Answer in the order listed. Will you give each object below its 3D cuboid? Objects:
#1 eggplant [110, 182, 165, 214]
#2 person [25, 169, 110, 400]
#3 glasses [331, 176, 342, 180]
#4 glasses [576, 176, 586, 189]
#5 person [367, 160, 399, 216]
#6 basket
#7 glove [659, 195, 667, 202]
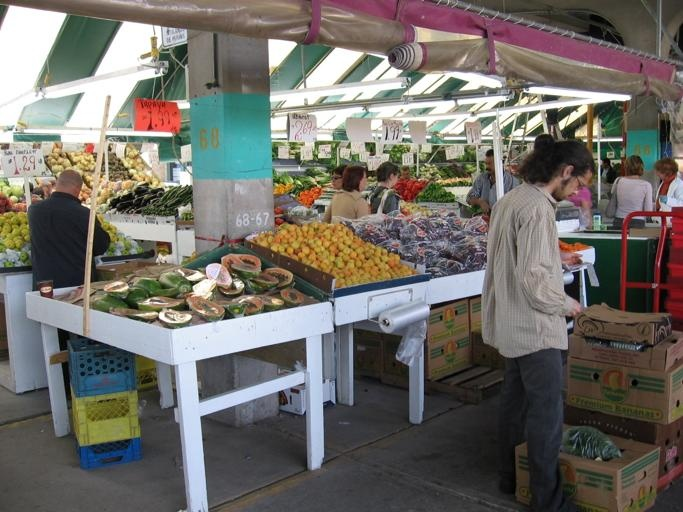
[{"bbox_3d":[-3.403,-0.922,9.373,0.871,0.282,0.451,-25,17,0],"label":"eggplant"},{"bbox_3d":[-2.497,0.169,5.433,0.708,1.847,0.755,2,4,36],"label":"person"},{"bbox_3d":[-0.064,-1.088,7.897,0.114,0.037,0.108,1,5,-16],"label":"glasses"},{"bbox_3d":[1.473,-0.451,3.521,0.062,0.064,0.019,1,-7,40],"label":"glasses"},{"bbox_3d":[0.531,-0.677,6.808,0.280,0.787,0.562,6,1,-5],"label":"person"},{"bbox_3d":[-1.786,1.093,4.306,0.458,0.883,0.351,-5,10,-22],"label":"basket"},{"bbox_3d":[4.023,-0.704,7.127,0.074,0.080,0.204,4,11,28],"label":"glove"}]
